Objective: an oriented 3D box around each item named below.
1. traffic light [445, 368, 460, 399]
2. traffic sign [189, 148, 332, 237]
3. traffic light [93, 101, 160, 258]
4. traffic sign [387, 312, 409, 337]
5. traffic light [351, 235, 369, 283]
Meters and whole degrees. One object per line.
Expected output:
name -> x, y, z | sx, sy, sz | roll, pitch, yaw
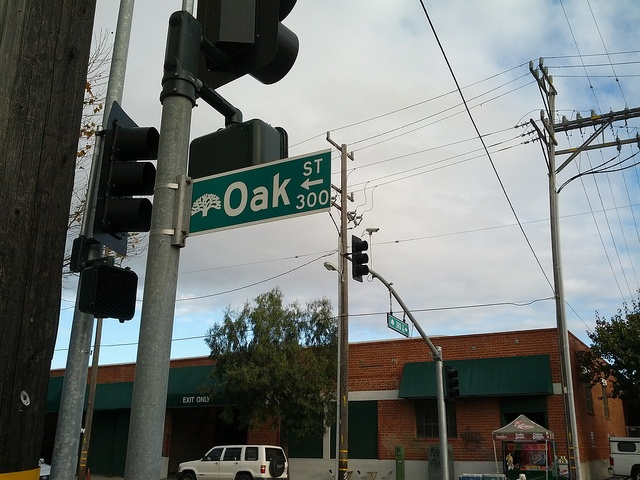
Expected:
traffic light -> 4.139, 4.448, 19.550 | 0.411, 1.002, 0.760 | -5, -21, 8
traffic sign -> -0.476, -0.373, 4.960 | 1.142, 0.612, 0.106 | -6, -20, 7
traffic light -> -1.568, -0.565, 5.205 | 0.551, 1.235, 0.418 | -7, -21, 13
traffic sign -> 2.382, 2.565, 18.874 | 0.394, 0.747, 1.582 | -8, -23, 14
traffic light -> 1.061, 0.563, 16.461 | 0.439, 1.315, 0.793 | -3, -21, 2
